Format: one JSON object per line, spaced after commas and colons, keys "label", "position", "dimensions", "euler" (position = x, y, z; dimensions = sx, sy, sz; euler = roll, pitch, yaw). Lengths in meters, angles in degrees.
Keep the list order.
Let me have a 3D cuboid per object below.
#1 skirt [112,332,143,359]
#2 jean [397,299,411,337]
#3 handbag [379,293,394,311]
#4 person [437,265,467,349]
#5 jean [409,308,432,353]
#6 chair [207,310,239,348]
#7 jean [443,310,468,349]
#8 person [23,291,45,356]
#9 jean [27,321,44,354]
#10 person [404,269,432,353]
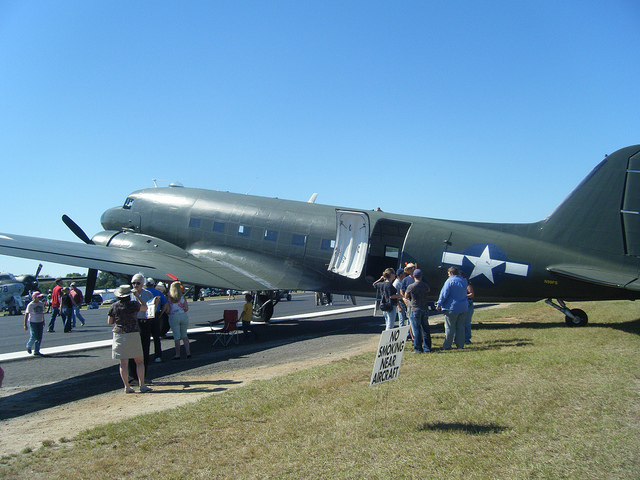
{"label": "skirt", "position": [-4.610, 2.513, 10.655], "dimensions": [0.749, 0.620, 0.388], "euler": [3, -13, -21]}
{"label": "jean", "position": [2.673, 2.342, 14.225], "dimensions": [0.289, 0.948, 0.905], "euler": [-4, 2, 10]}
{"label": "handbag", "position": [2.037, 1.869, 13.503], "dimensions": [0.477, 0.614, 0.229], "euler": [10, 44, 38]}
{"label": "person", "position": [3.930, 2.058, 13.087], "dimensions": [0.847, 2.440, 0.996], "euler": [-4, 3, 16]}
{"label": "jean", "position": [2.985, 2.622, 13.109], "dimensions": [0.653, 1.259, 0.562], "euler": [-6, 3, -21]}
{"label": "chair", "position": [-3.640, 3.396, 17.008], "dimensions": [1.094, 1.177, 1.126], "euler": [-8, -17, 11]}
{"label": "jean", "position": [3.955, 2.594, 13.099], "dimensions": [0.698, 1.237, 0.626], "euler": [-4, 3, 8]}
{"label": "person", "position": [-9.415, 2.793, 14.748], "dimensions": [0.542, 2.065, 0.597], "euler": [-7, 4, -35]}
{"label": "jean", "position": [-9.449, 3.210, 14.839], "dimensions": [0.514, 1.089, 0.740], "euler": [-7, 4, -39]}
{"label": "person", "position": [2.899, 2.251, 13.106], "dimensions": [0.659, 1.993, 0.694], "euler": [-4, 3, 10]}
